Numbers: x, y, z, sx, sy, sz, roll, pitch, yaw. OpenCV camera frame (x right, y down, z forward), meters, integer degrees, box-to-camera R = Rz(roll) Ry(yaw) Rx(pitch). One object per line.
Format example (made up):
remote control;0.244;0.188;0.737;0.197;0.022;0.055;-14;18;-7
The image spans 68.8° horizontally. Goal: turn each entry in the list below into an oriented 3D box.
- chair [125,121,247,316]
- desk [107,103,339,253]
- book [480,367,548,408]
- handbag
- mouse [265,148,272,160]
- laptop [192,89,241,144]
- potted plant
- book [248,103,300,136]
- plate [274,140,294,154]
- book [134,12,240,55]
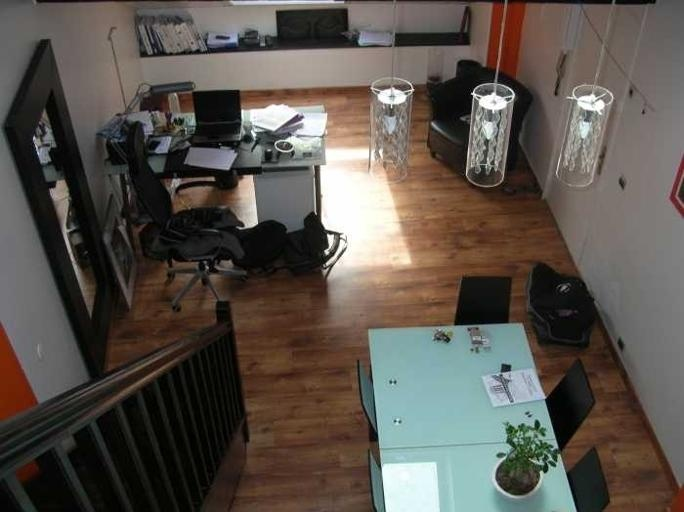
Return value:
chair;-1.682;-0.377;5.286;1.112;1.803;1.156;-4;51;-9
desk;-1.087;-0.921;5.445;2.498;1.654;1.406;-2;63;-3
book;1.255;0.960;3.656;0.416;0.096;0.256;-5;27;-7
handbag;2.179;0.498;5.002;0.646;0.518;0.766;8;29;18
mouse;-0.789;-1.090;5.363;0.089;0.096;0.147;-5;27;-6
laptop;-1.382;-1.599;5.573;0.663;0.501;0.573;-3;53;-7
potted plant;1.134;1.297;3.254;0.501;0.736;0.476;-1;53;3
book;-0.775;-1.580;5.726;0.480;0.149;0.387;-12;54;-19
plate;-0.630;-1.186;5.464;0.217;0.090;0.269;-4;27;-4
book;-2.633;-3.413;7.964;1.074;0.332;0.786;-6;50;-15
